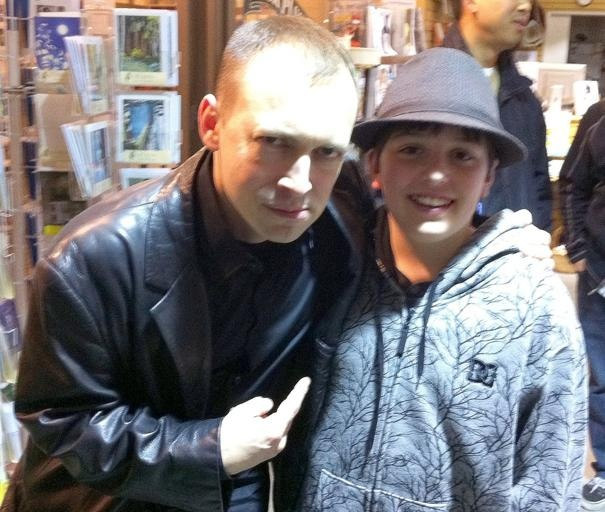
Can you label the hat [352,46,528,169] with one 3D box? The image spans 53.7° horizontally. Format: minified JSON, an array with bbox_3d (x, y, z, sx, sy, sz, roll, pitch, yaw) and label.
[{"bbox_3d":[0.402,-0.456,1.681,0.397,0.173,0.326,0,11,-3],"label":"hat"}]
